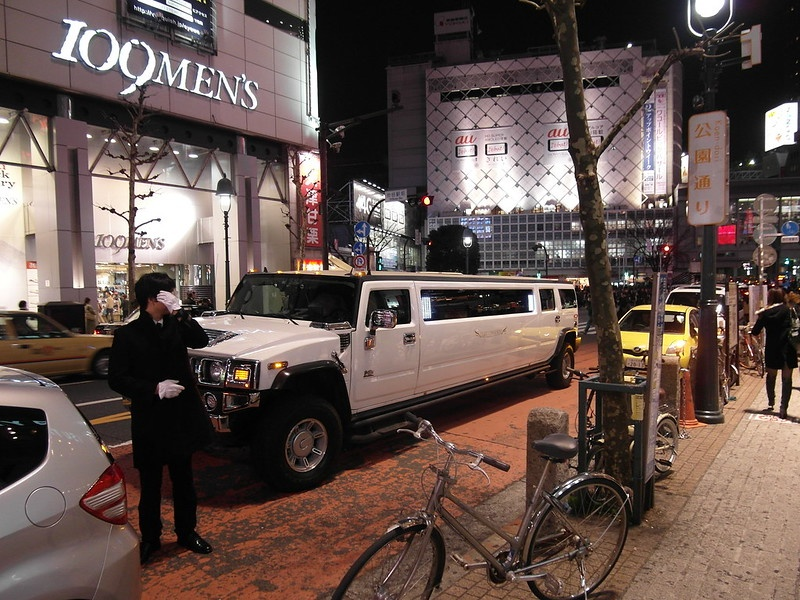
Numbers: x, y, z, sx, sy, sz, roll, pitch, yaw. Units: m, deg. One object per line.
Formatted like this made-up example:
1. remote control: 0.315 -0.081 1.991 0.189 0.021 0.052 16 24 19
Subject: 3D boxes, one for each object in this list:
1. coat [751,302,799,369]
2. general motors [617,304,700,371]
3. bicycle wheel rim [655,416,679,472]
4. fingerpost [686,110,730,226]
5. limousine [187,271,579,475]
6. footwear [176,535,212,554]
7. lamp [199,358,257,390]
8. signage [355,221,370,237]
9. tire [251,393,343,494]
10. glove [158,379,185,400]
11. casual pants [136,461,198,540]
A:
1. coat: 6.409 0.630 10.222 0.662 1.082 0.434 -1 3 35
2. general motors: 5.419 0.521 12.740 1.643 1.488 2.781 -4 -10 31
3. bicycle wheel rim: 3.385 1.802 7.656 0.148 0.767 0.600 0 4 41
4. fingerpost: 4.574 -1.985 9.026 0.610 1.663 0.164 1 0 26
5. limousine: 0.019 0.862 9.675 2.640 2.216 6.848 -3 -1 36
6. footwear: -2.108 2.500 6.243 0.386 0.173 0.160 2 2 15
7. lamp: -2.051 0.840 7.028 0.438 0.182 0.463 3 2 26
8. signage: -1.176 -2.256 18.926 0.433 0.492 0.875 -3 3 -7
9. tire: -1.275 1.722 7.238 1.113 1.200 0.392 6 -1 -38
10. glove: -2.227 0.871 5.832 0.254 0.200 0.193 -4 3 -23
11. casual pants: -2.419 2.016 6.226 0.534 1.126 0.303 9 -46 -31
